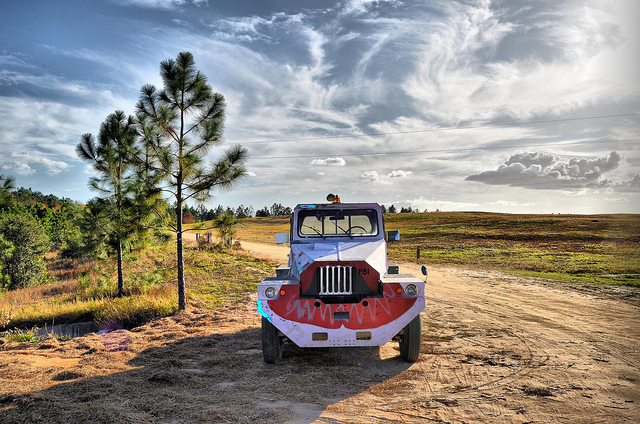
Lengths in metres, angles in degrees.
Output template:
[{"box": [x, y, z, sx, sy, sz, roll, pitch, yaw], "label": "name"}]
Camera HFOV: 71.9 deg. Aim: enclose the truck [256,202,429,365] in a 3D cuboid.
[{"box": [0.517, 1.872, 14.799, 4.658, 4.088, 7.704, -1, 1, 4], "label": "truck"}]
